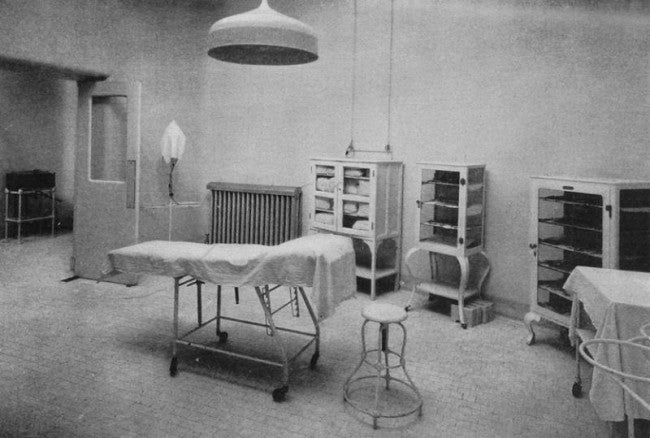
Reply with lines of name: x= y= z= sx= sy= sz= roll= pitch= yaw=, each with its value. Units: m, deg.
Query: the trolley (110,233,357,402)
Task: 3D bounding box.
trolley: x=-0.837 y=0.752 z=4.851 sx=2.145 sy=1.168 sz=0.950 roll=3 pitch=2 yaw=19

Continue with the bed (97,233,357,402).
bed: x=-0.671 y=0.761 z=4.692 sx=1.774 sy=1.229 sz=0.785 roll=2 pitch=8 yaw=18

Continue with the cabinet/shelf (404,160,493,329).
cabinet/shelf: x=1.313 y=0.230 z=5.848 sx=0.770 sy=1.654 sz=0.601 roll=6 pitch=10 yaw=41

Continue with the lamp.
lamp: x=-0.421 y=-1.225 z=3.904 sx=0.660 sy=0.320 sz=0.623 roll=1 pitch=6 yaw=5
